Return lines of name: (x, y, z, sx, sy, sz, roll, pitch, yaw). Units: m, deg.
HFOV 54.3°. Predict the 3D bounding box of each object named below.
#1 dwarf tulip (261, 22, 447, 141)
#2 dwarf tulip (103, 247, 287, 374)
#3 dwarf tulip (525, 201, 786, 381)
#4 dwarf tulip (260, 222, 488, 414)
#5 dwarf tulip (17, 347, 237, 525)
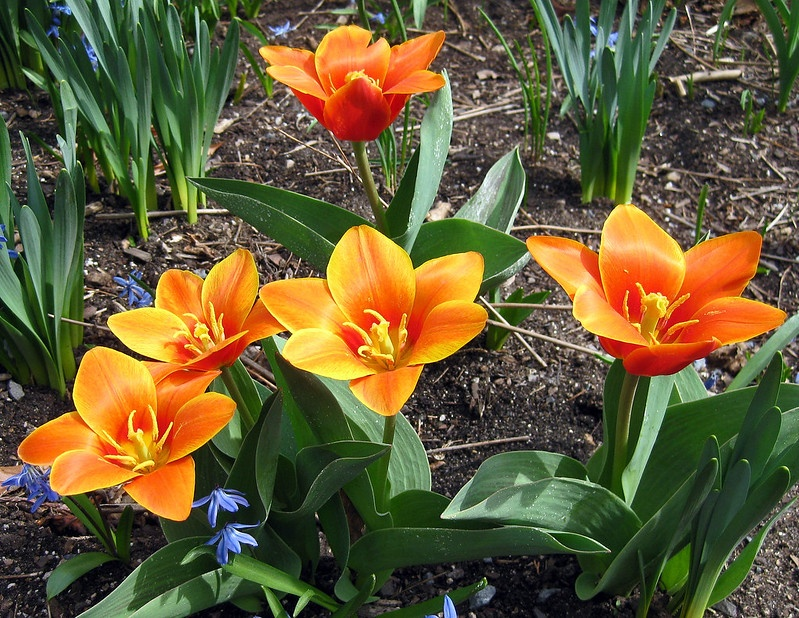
dwarf tulip: (-0.143, -0.635, 2.150, 0.352, 0.222, 0.375, 13, 25, 25)
dwarf tulip: (-0.457, 0.037, 1.750, 0.342, 0.197, 0.415, -26, 29, -11)
dwarf tulip: (0.562, 0.044, 1.716, 0.468, 0.261, 0.485, 2, 55, 26)
dwarf tulip: (-0.027, 0.080, 1.778, 0.427, 0.399, 0.207, 16, 28, -37)
dwarf tulip: (-0.564, 0.265, 1.727, 0.170, 0.424, 0.410, 15, 63, 46)
